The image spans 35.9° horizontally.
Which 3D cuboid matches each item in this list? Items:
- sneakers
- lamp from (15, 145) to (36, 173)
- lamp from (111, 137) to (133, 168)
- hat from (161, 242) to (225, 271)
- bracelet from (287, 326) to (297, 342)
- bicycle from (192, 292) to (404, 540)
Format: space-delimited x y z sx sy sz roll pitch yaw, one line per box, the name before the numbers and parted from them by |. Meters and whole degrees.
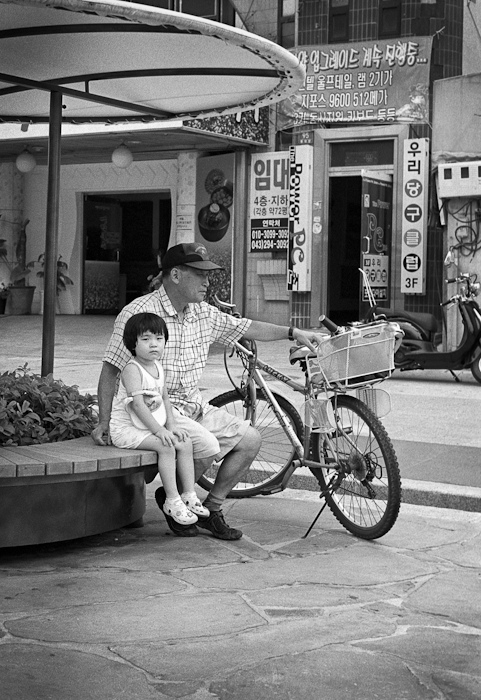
sneakers | -0.242 0.779 3.666 0.505 0.218 0.179 7 10 15
lamp | -5.751 -5.117 19.847 0.413 0.616 0.668 0 -1 -11
lamp | -2.979 -4.853 18.557 0.695 0.920 0.718 -1 7 -14
hat | -0.241 -0.445 3.559 0.204 0.108 0.148 -3 4 15
bracelet | 0.263 -0.086 3.823 0.043 0.070 0.061 2 -2 8
bicycle | 0.346 0.421 4.014 0.772 1.064 1.563 -7 16 -34
